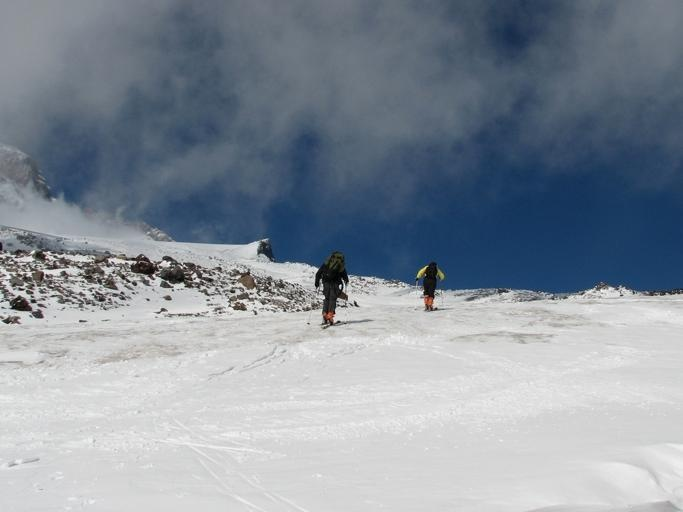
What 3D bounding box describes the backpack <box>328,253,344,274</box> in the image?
[{"bbox_3d":[-0.167,0.221,19.777,0.483,0.678,0.689,7,0,1],"label":"backpack"}]
